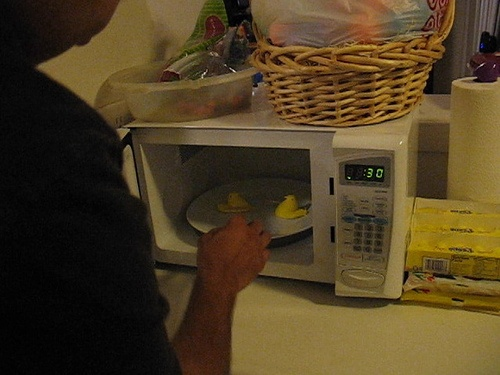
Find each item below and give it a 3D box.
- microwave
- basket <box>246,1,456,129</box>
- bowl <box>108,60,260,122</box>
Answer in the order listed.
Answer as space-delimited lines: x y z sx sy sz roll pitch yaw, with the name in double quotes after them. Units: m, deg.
0.108 0.011 0.983 0.498 0.325 0.512 6 26 18 "microwave"
0.154 -0.218 0.657 0.237 0.211 0.285 -1 29 11 "basket"
-0.157 -0.173 0.886 0.189 0.072 0.197 -17 11 3 "bowl"
